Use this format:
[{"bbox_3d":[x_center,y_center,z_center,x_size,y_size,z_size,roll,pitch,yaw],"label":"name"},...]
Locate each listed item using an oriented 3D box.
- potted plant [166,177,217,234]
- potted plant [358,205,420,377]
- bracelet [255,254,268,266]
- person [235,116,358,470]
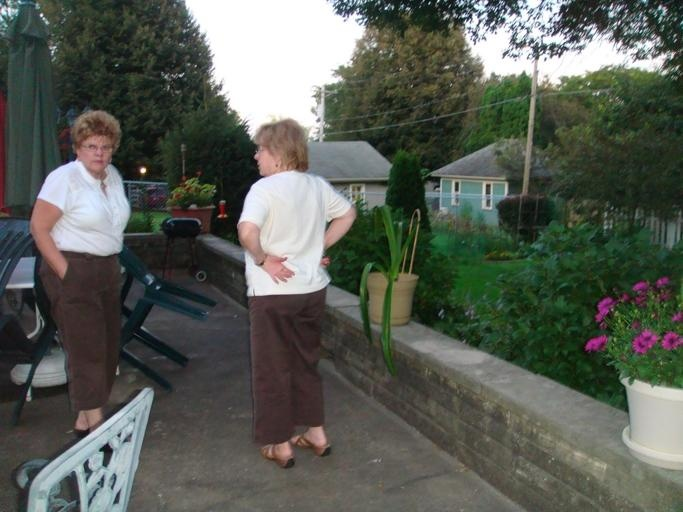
[{"bbox_3d":[-2.414,-0.833,8.732,0.595,0.760,0.580,3,6,28],"label":"potted plant"},{"bbox_3d":[0.319,0.146,3.641,0.403,0.798,0.475,-7,11,-33],"label":"potted plant"},{"bbox_3d":[-0.434,0.026,2.788,0.036,0.044,0.061,3,5,-22],"label":"bracelet"},{"bbox_3d":[-0.271,0.239,3.001,0.637,2.014,0.347,-4,12,-20],"label":"person"}]
